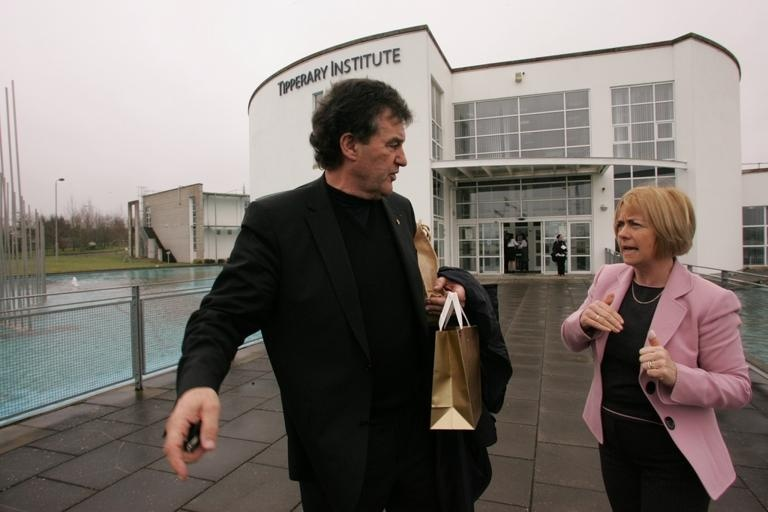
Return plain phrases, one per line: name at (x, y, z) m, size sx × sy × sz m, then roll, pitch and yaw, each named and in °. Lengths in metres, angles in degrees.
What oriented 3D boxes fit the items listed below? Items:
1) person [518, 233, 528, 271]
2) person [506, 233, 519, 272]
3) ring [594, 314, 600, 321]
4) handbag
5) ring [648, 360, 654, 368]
person at (6.674, -0.134, 21.902) m, size 0.443 × 1.824 × 0.825 m, roll 1°, pitch 6°, yaw 17°
person at (6.057, -0.149, 21.463) m, size 0.478 × 1.831 × 1.004 m, roll 1°, pitch 6°, yaw 21°
ring at (1.353, 0.392, 2.880) m, size 0.023 × 0.035 × 0.010 m, roll -4°, pitch -29°, yaw 31°
handbag at (0.384, 0.482, 2.644) m, size 0.378 × 1.086 × 0.495 m, roll -1°, pitch 6°, yaw 3°
ring at (1.560, 0.636, 2.654) m, size 0.013 × 0.039 × 0.037 m, roll 19°, pitch -17°, yaw -40°
